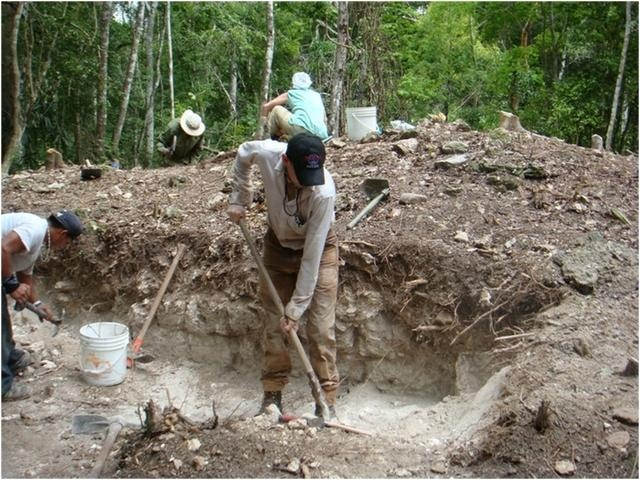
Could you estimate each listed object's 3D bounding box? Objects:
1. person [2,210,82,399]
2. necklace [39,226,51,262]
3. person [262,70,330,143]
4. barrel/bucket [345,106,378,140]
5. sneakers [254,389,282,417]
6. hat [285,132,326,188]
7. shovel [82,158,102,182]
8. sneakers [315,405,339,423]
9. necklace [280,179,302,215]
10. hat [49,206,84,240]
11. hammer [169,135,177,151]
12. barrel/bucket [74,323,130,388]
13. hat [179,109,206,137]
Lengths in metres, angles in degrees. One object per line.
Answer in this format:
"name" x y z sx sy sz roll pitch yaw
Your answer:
"person" -3.344 0.723 6.580 0.689 2.200 0.675 -1 12 -31
"necklace" -3.476 0.051 7.070 0.066 0.380 0.260 15 -20 -40
"person" -0.411 -1.743 7.780 0.598 1.037 0.914 2 19 -35
"barrel/bucket" 0.683 -1.801 8.819 0.493 0.490 0.502 -2 11 0
"sneakers" -0.554 1.747 6.062 0.188 0.310 0.314 8 -22 -11
"hat" -0.158 -0.800 5.619 0.317 0.532 0.281 -7 -21 -17
"shovel" -3.719 -1.095 9.088 0.242 0.232 0.324 -1 5 -25
"sneakers" 0.063 1.854 5.948 0.255 0.162 0.305 5 10 -4
"necklace" -0.322 -0.431 5.758 0.180 0.336 0.092 10 12 31
"hat" -2.886 -0.191 6.452 0.370 0.192 0.261 36 18 -35
"hammer" -2.741 -1.785 10.444 0.088 0.108 0.397 13 -31 -9
"barrel/bucket" -2.686 1.423 7.171 0.682 0.780 0.718 1 7 0
"hat" -2.370 -2.117 10.320 0.441 0.456 0.299 1 11 -25
